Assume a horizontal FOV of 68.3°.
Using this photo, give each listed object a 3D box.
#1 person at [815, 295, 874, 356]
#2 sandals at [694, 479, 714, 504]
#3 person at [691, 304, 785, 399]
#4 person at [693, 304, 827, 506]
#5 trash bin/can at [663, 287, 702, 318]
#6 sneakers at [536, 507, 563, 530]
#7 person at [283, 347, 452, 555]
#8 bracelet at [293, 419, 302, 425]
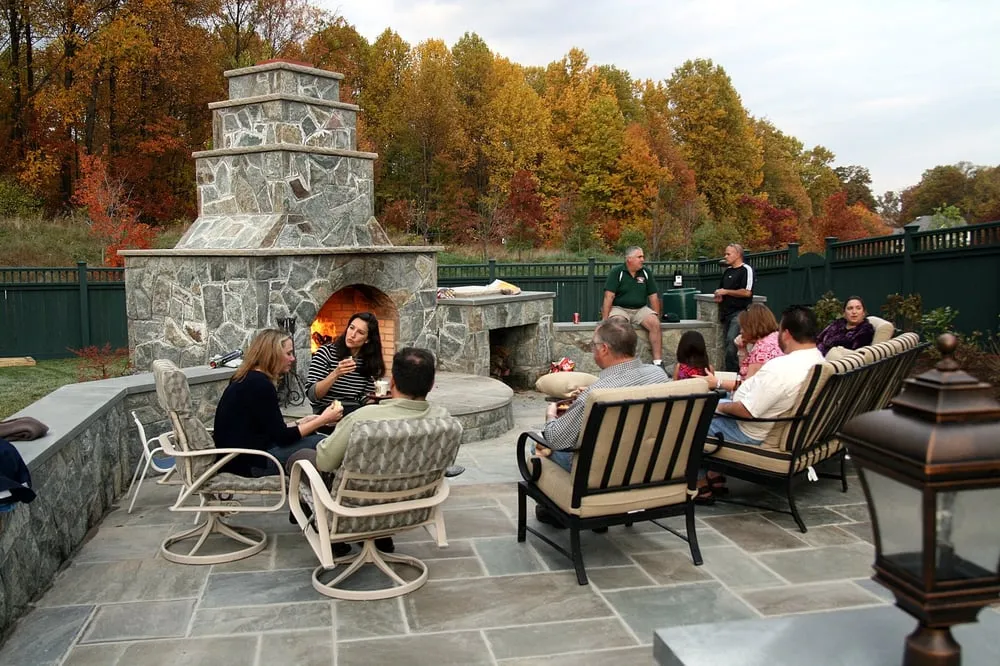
[{"bbox_3d":[4.105,-0.014,8.816,0.591,0.827,0.490,13,6,31],"label":"person"},{"bbox_3d":[1.877,1.473,6.842,0.184,0.176,0.503,-1,3,11],"label":"sandals"},{"bbox_3d":[2.741,0.147,8.089,1.236,1.063,0.880,5,11,42],"label":"person"},{"bbox_3d":[2.184,0.655,6.804,1.218,1.905,0.917,16,18,40],"label":"person"},{"bbox_3d":[3.695,-0.606,15.152,0.675,0.631,0.668,1,9,12],"label":"trash bin/can"},{"bbox_3d":[0.421,1.628,6.411,0.187,0.093,0.244,10,13,-36],"label":"sneakers"},{"bbox_3d":[-0.930,0.962,5.391,0.806,1.745,0.942,-9,16,-33],"label":"person"},{"bbox_3d":[-1.758,0.786,6.411,0.030,0.036,0.091,0,2,-7],"label":"bracelet"}]
